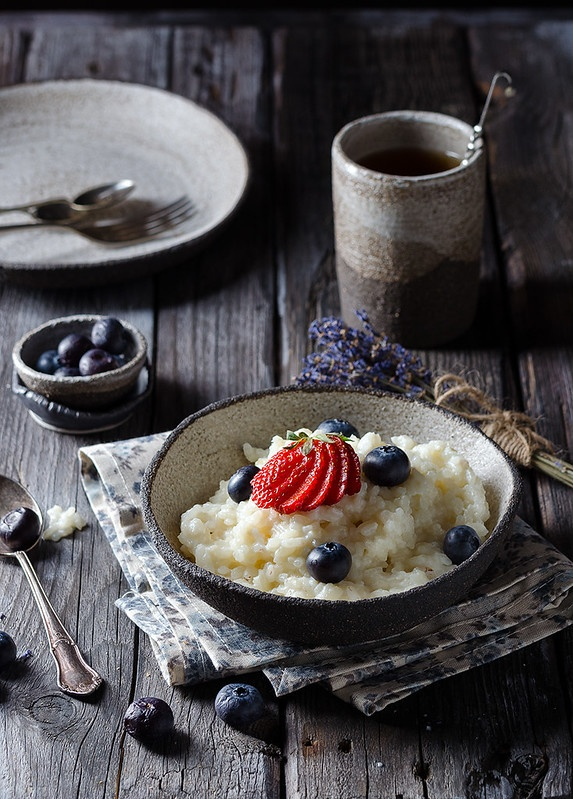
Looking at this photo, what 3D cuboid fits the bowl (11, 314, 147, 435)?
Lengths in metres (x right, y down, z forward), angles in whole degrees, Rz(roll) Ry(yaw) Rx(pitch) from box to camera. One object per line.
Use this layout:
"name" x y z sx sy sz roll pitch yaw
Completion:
"bowl" -0.326 -0.043 1.333 0.200 0.114 0.202 2 40 -1

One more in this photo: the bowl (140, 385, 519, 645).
"bowl" 0.034 0.120 1.061 0.342 0.121 0.328 -2 31 1
